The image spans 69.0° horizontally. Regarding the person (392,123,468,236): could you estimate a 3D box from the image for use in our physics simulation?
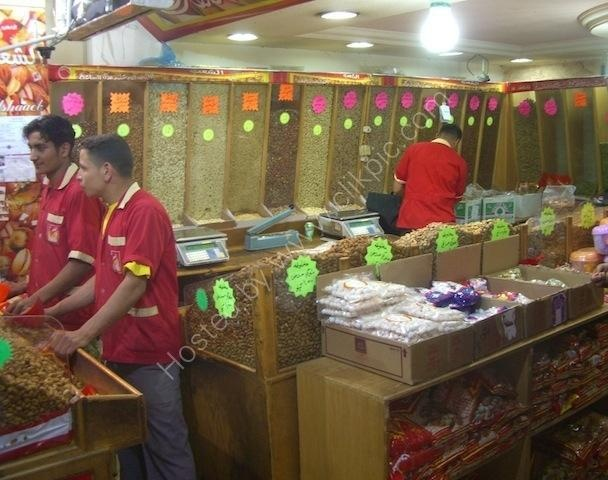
[{"bbox_3d":[1.326,-0.614,4.724,0.674,1.177,0.669,15,19,32],"label":"person"}]

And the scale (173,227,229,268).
[{"bbox_3d":[-0.959,0.040,3.874,0.509,0.222,0.657,-12,21,-38],"label":"scale"}]
